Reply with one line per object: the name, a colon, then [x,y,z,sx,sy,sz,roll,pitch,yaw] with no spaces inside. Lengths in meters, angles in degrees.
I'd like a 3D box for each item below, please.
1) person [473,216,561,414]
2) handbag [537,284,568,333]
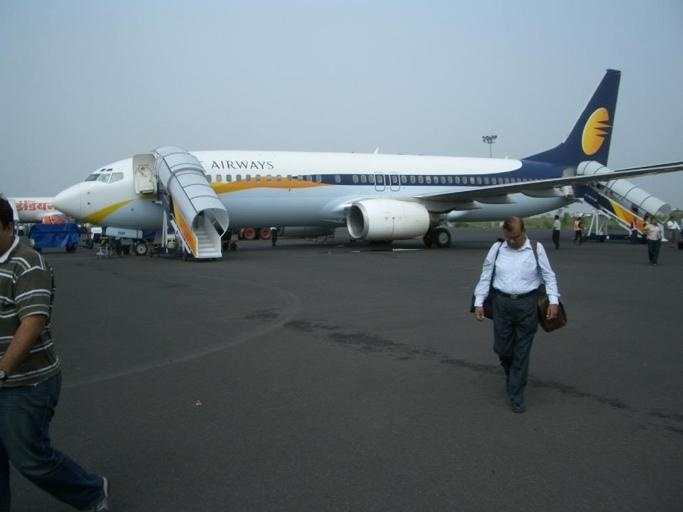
person: [1.824,0.591,5.344,0.872,1.527,0.852,-14,19,-26]
handbag: [2.268,0.589,5.511,0.270,0.666,0.522,4,20,26]
